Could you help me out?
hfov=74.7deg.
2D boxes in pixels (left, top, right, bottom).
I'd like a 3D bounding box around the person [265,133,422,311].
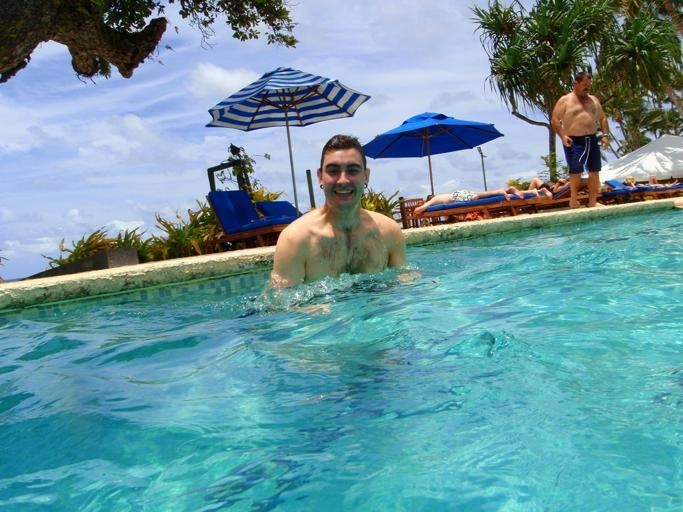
[{"bbox_3d":[-0.072,-0.297,3.072,1.062,0.980,0.439,-12,10,-11],"label":"person"}]
